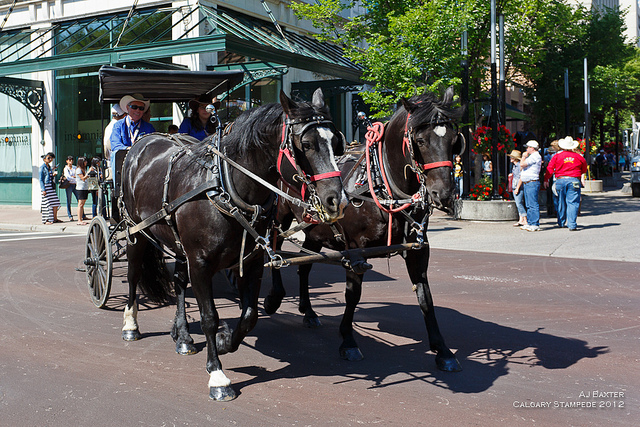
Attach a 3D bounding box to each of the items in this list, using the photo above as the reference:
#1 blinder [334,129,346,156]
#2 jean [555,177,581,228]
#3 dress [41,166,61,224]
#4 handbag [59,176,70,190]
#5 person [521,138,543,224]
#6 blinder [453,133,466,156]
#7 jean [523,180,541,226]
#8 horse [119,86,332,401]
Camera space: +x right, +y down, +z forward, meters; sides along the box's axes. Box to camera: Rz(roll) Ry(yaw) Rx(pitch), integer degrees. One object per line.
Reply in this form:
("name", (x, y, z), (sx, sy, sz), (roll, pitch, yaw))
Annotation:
("blinder", (0.290, -1.053, 11.546), (0.115, 0.311, 0.232), (-1, 6, -15))
("jean", (6.957, -0.320, 21.909), (0.525, 1.399, 0.930), (-1, 3, -5))
("dress", (-8.526, -0.582, 24.612), (0.496, 1.693, 0.748), (-1, 3, 4))
("handbag", (-8.305, -1.031, 25.336), (0.279, 0.381, 0.364), (12, 20, -9))
("person", (5.940, -0.895, 22.045), (0.514, 2.354, 0.647), (0, 3, 14))
("blinder", (2.144, -1.077, 12.000), (0.245, 0.201, 0.302), (-1, 4, 5))
("jean", (5.963, -0.317, 22.068), (0.412, 1.315, 0.639), (0, 3, 14))
("horse", (-1.727, 0.475, 12.467), (1.505, 4.617, 3.758), (-4, 4, -42))
